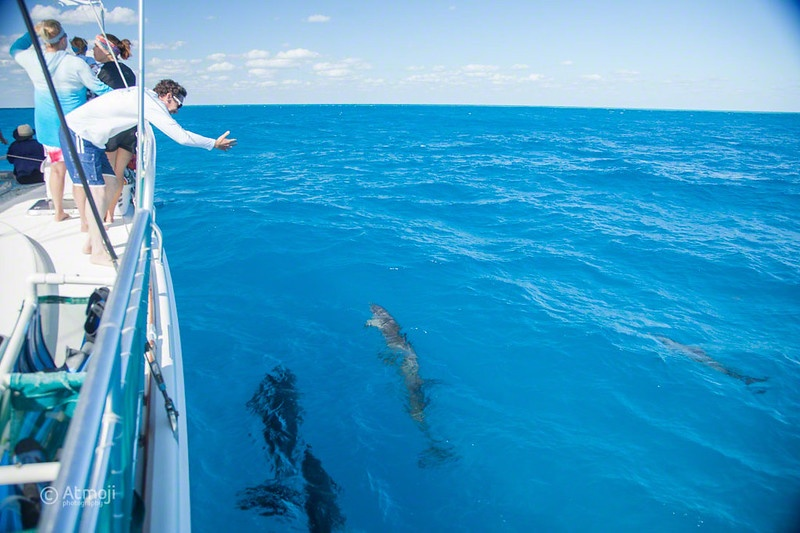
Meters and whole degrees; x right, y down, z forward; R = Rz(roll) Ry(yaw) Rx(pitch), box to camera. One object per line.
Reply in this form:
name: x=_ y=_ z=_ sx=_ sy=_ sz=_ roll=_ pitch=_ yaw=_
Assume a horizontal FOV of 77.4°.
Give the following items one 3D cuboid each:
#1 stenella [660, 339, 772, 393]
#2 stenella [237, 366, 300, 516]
stenella: x=6.493 y=2.039 z=10.452 sx=2.133 sy=0.068 sz=0.721 roll=24 pitch=28 yaw=39
stenella: x=-1.985 y=2.796 z=7.889 sx=0.781 sy=0.592 sz=1.932 roll=10 pitch=24 yaw=-16
